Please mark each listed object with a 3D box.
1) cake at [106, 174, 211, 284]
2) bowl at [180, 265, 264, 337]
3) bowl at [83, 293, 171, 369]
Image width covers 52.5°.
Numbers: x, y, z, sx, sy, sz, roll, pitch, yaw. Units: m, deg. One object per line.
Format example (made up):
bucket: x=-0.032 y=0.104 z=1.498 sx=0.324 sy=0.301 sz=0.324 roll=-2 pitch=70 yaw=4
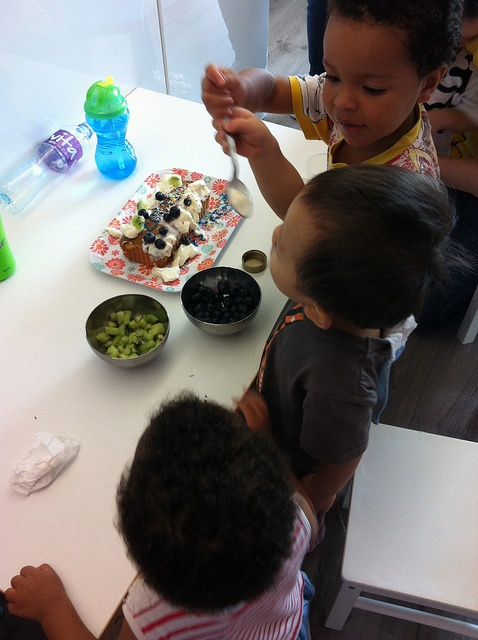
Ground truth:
cake: x=-0.193 y=-0.274 z=1.295 sx=0.155 sy=0.104 sz=0.288 roll=20 pitch=54 yaw=16
bowl: x=-0.044 y=-0.029 z=1.127 sx=0.208 sy=0.209 sz=0.099 roll=16 pitch=62 yaw=-40
bowl: x=-0.227 y=0.024 z=1.042 sx=0.156 sy=0.090 sz=0.160 roll=-2 pitch=57 yaw=3
